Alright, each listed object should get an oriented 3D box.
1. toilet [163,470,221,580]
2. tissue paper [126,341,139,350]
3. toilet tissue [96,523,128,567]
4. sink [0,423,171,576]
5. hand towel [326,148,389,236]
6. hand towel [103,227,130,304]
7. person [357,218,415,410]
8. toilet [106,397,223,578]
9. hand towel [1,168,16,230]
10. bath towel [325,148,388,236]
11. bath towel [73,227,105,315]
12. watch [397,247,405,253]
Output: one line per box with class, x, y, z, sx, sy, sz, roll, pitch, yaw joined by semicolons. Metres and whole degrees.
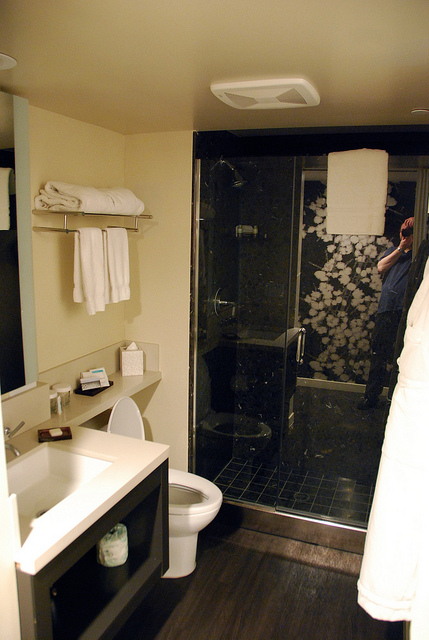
toilet;-0.178;1.016;2.353;0.388;0.369;0.328;0;6;-6
tissue paper;-0.491;0.155;2.932;0.054;0.005;0.064;5;39;-6
toilet tissue;-0.371;0.835;1.849;0.118;0.198;0.181;0;17;-18
sink;-0.488;0.713;1.747;0.377;0.137;0.581;9;17;19
hand towel;0.714;-0.636;2.451;0.293;0.402;0.083;5;8;19
hand towel;-0.496;-0.277;2.467;0.048;0.358;0.150;8;15;16
person;0.901;-0.004;2.566;0.232;1.036;0.077;6;9;30
toilet;-0.192;0.771;2.455;0.690;0.791;0.348;5;9;23
hand towel;-0.805;-0.472;1.904;0.018;0.230;0.078;3;8;11
bath towel;0.665;-0.626;2.574;0.389;0.433;0.387;2;1;10
bath towel;-0.588;-0.244;2.297;0.083;0.410;0.223;4;11;15
watch;0.946;-0.352;2.476;0.023;0.018;0.026;-7;24;-45
